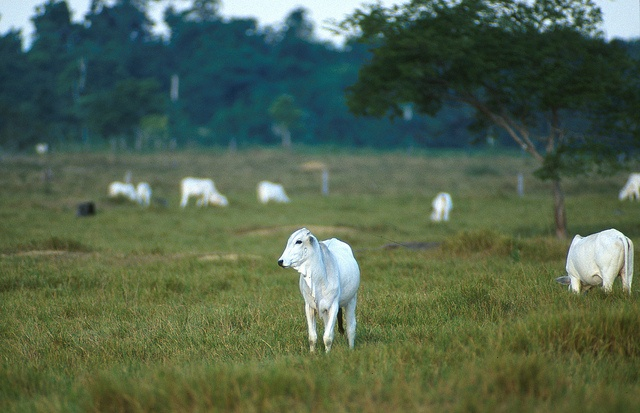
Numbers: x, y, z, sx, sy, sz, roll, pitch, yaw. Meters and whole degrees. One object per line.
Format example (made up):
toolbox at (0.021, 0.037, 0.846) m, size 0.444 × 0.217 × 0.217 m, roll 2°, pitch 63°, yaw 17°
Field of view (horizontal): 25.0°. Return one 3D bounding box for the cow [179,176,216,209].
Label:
cow at (-4.574, -0.483, 57.811) m, size 2.196 × 1.298 × 0.594 m, roll 13°, pitch 15°, yaw 37°
